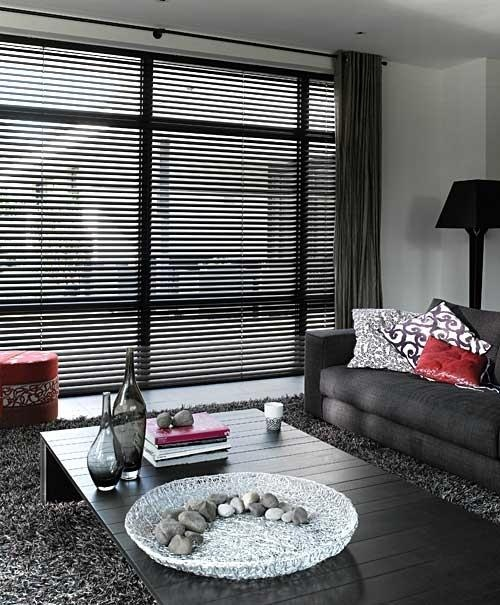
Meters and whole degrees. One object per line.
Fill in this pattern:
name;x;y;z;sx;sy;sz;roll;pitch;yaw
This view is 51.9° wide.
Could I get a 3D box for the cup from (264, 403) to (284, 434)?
cup;0.098;0.494;2.244;0.101;0.122;0.108;0;-7;0
